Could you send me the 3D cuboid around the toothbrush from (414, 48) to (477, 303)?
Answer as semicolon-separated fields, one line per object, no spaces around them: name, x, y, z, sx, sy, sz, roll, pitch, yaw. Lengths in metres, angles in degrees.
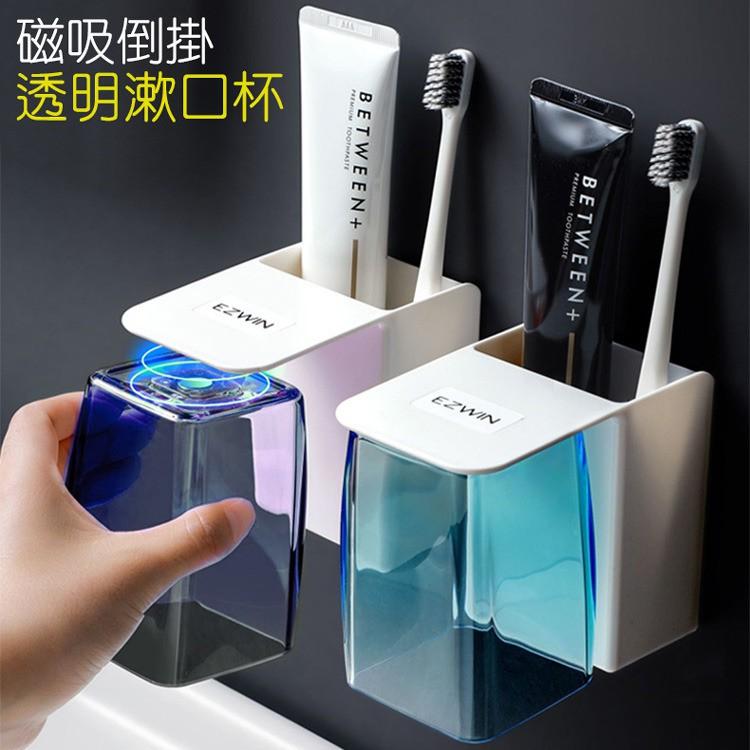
toothbrush;0.037;-0.106;0.438;0.026;0.127;0.052;2;19;3

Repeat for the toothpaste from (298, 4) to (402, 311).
toothpaste;-0.016;-0.114;0.445;0.055;0.153;0.028;4;19;7

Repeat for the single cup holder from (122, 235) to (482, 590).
single cup holder;-0.040;-0.016;0.492;0.125;0.170;0.194;-13;24;-31

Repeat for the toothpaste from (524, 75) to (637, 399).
toothpaste;0.087;-0.058;0.373;0.045;0.141;0.014;3;26;11
